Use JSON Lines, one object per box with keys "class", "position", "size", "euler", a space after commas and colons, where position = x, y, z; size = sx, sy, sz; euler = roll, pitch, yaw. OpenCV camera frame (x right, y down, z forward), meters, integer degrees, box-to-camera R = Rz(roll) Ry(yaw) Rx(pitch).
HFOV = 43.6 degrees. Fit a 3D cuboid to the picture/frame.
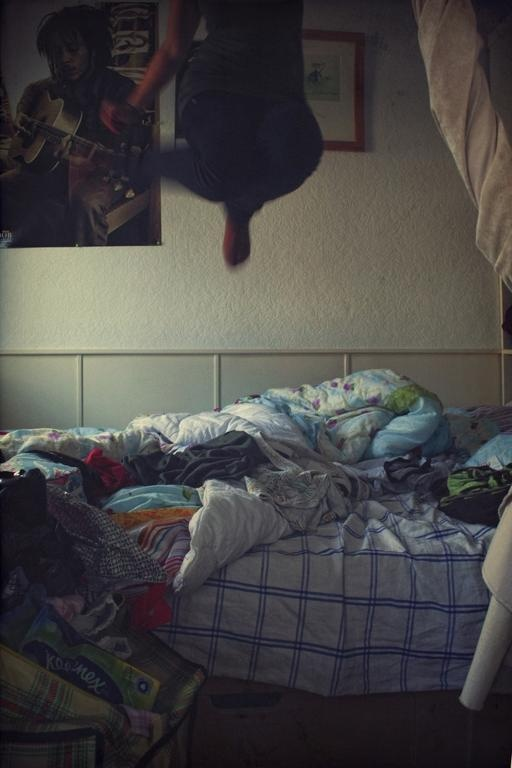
{"class": "picture/frame", "position": [0.273, -1.056, 2.277], "size": [0.287, 0.344, 0.026], "euler": [18, 39, 28]}
